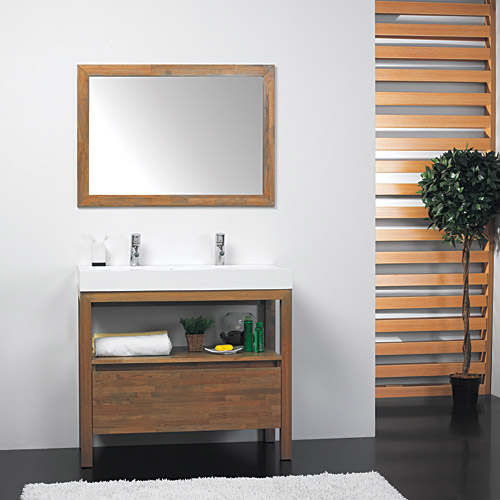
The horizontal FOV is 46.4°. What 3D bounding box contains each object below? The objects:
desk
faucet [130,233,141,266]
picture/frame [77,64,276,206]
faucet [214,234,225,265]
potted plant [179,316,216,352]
[{"bbox_3d":[-0.352,0.707,3.071,1.118,0.752,0.379,0,-4,-7],"label":"desk"},{"bbox_3d":[-0.657,-0.004,3.351,0.069,0.181,0.094,-4,5,-10],"label":"faucet"},{"bbox_3d":[-0.472,-0.686,3.405,1.047,0.598,0.039,0,-3,-4],"label":"picture/frame"},{"bbox_3d":[-0.178,-0.003,3.392,0.061,0.182,0.051,-2,5,6],"label":"faucet"},{"bbox_3d":[-0.271,0.477,3.233,0.205,0.180,0.201,4,-18,24],"label":"potted plant"}]
